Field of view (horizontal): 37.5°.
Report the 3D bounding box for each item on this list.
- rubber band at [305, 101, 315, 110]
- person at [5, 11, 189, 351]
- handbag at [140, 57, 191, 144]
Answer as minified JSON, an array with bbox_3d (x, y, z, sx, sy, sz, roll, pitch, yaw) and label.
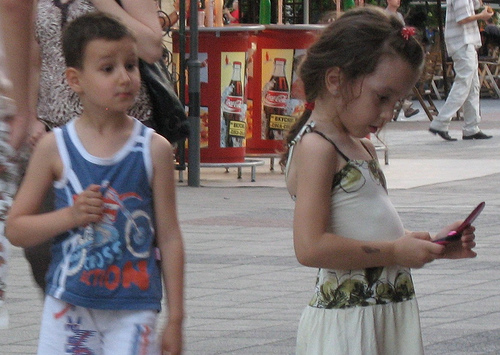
[{"bbox_3d":[0.228,-0.284,2.845,0.030,0.026,0.023,12,13,15],"label":"rubber band"},{"bbox_3d":[-0.570,0.000,2.650,0.638,1.190,0.434,-1,10,-7],"label":"person"},{"bbox_3d":[-0.388,-0.352,3.309,0.111,0.351,0.223,-6,10,16],"label":"handbag"}]
